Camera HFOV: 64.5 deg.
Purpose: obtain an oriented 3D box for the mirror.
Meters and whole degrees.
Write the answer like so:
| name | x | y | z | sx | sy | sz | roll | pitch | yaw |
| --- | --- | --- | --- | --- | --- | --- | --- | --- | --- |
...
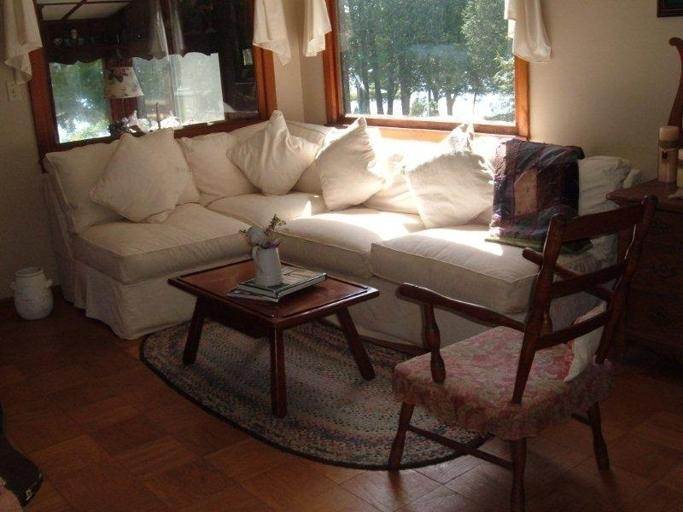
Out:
| name | x | y | z | sx | sy | sz | roll | pitch | yaw |
| --- | --- | --- | --- | --- | --- | --- | --- | --- | --- |
| mirror | -1.562 | -1.337 | 4.271 | 1.521 | 1.067 | 0.080 | -22 | 14 | -25 |

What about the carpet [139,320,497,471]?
| name | x | y | z | sx | sy | sz | roll | pitch | yaw |
| --- | --- | --- | --- | --- | --- | --- | --- | --- | --- |
| carpet | -0.307 | 0.624 | 3.106 | 1.873 | 0.014 | 1.167 | 13 | 20 | 39 |

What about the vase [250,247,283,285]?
| name | x | y | z | sx | sy | sz | roll | pitch | yaw |
| --- | --- | --- | --- | --- | --- | --- | --- | --- | --- |
| vase | -0.370 | 0.051 | 2.760 | 0.133 | 0.187 | 0.205 | 10 | 19 | 32 |

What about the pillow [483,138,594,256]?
| name | x | y | z | sx | sy | sz | roll | pitch | yaw |
| --- | --- | --- | --- | --- | --- | --- | --- | --- | --- |
| pillow | 1.187 | -0.369 | 3.148 | 0.191 | 0.671 | 0.716 | 13 | 1 | -45 |

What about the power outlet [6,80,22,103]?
| name | x | y | z | sx | sy | sz | roll | pitch | yaw |
| --- | --- | --- | --- | --- | --- | --- | --- | --- | --- |
| power outlet | -2.368 | -1.194 | 3.911 | 0.126 | 0.177 | 0.041 | -9 | 14 | -33 |

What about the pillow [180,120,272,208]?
| name | x | y | z | sx | sy | sz | roll | pitch | yaw |
| --- | --- | --- | --- | --- | --- | --- | --- | --- | --- |
| pillow | -0.934 | -0.687 | 4.180 | 0.573 | 0.545 | 0.155 | -20 | 5 | -35 |

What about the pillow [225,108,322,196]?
| name | x | y | z | sx | sy | sz | roll | pitch | yaw |
| --- | --- | --- | --- | --- | --- | --- | --- | --- | --- |
| pillow | -0.586 | -0.741 | 4.438 | 0.711 | 0.167 | 0.738 | -23 | 4 | 41 |

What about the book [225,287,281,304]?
| name | x | y | z | sx | sy | sz | roll | pitch | yaw |
| --- | --- | --- | --- | --- | --- | --- | --- | --- | --- |
| book | -0.436 | 0.206 | 2.729 | 0.125 | 0.031 | 0.126 | 9 | 12 | 40 |

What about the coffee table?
| name | x | y | z | sx | sy | sz | roll | pitch | yaw |
| --- | --- | --- | --- | --- | --- | --- | --- | --- | --- |
| coffee table | -0.377 | 0.392 | 2.991 | 0.672 | 0.484 | 0.919 | -13 | 20 | -42 |

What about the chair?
| name | x | y | z | sx | sy | sz | roll | pitch | yaw |
| --- | --- | --- | --- | --- | --- | --- | --- | --- | --- |
| chair | 0.620 | 0.336 | 2.022 | 0.689 | 1.137 | 0.590 | -16 | 24 | -34 |
